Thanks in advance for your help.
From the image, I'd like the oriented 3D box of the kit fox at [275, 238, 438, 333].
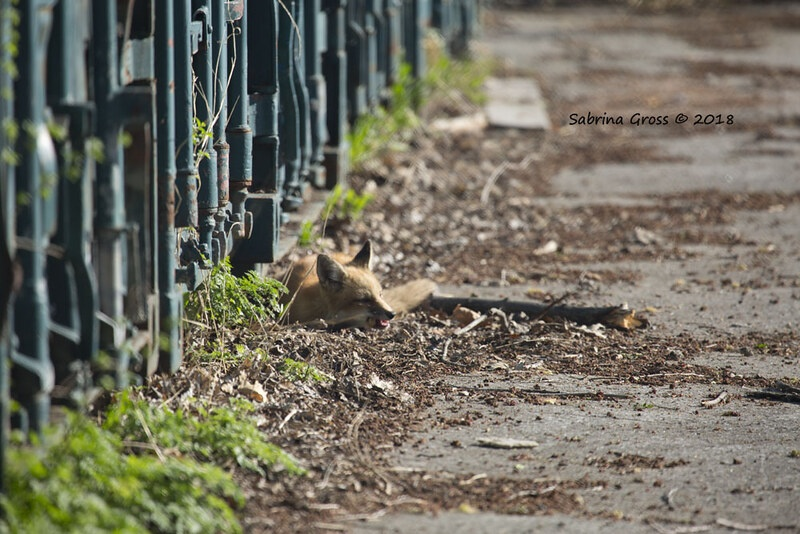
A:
[{"bbox_3d":[-0.356,0.185,9.164,0.910,0.344,0.625,15,21,26],"label":"kit fox"}]
